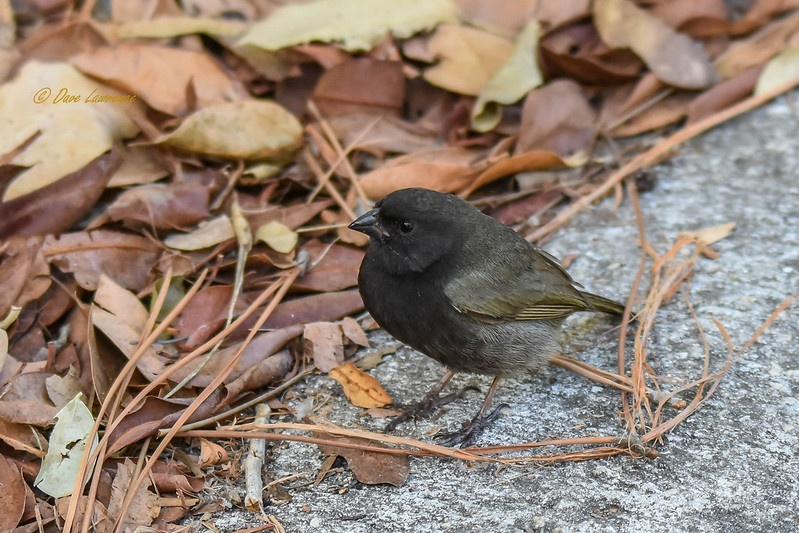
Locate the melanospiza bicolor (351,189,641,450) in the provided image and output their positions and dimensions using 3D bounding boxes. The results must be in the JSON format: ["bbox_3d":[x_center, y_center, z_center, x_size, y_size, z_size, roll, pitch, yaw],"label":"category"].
[{"bbox_3d":[0.473,0.330,4.141,1.038,2.848,1.237,0,80,4],"label":"melanospiza bicolor"}]
